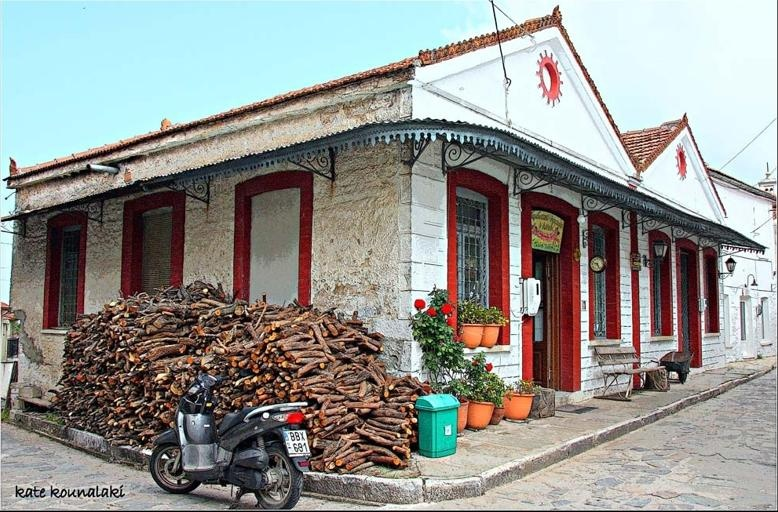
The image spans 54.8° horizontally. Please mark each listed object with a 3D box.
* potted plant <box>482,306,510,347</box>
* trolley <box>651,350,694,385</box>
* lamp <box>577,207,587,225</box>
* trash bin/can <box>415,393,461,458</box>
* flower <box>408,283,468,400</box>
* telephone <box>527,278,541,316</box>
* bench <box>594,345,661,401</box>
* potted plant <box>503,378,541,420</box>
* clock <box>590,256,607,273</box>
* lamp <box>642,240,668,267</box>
[{"bbox_3d":[2.165,1.546,16.284,0.655,0.816,0.770,2,-7,-23],"label":"potted plant"},{"bbox_3d":[8.322,3.245,21.767,0.801,0.839,1.010,1,2,42],"label":"trolley"},{"bbox_3d":[4.904,-1.006,18.884,0.252,0.417,0.432,-1,-11,5],"label":"lamp"},{"bbox_3d":[0.935,3.186,14.070,0.790,1.074,0.583,2,-4,-40],"label":"trash bin/can"},{"bbox_3d":[1.112,1.729,14.999,1.177,2.117,0.767,-4,6,-40],"label":"flower"},{"bbox_3d":[3.338,0.933,17.194,0.201,0.867,0.441,3,5,36],"label":"telephone"},{"bbox_3d":[6.408,3.025,19.690,1.008,1.221,2.792,-1,-5,38],"label":"bench"},{"bbox_3d":[2.907,3.128,16.242,0.820,0.848,0.790,-5,-12,32],"label":"potted plant"},{"bbox_3d":[5.365,0.226,19.185,0.434,0.428,0.101,8,-5,-15],"label":"clock"},{"bbox_3d":[7.862,-0.055,22.087,0.569,0.857,2.152,1,5,24],"label":"lamp"}]
